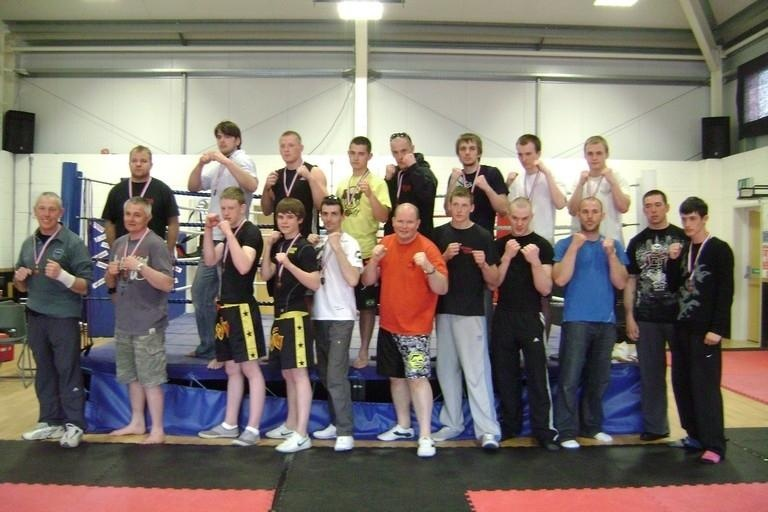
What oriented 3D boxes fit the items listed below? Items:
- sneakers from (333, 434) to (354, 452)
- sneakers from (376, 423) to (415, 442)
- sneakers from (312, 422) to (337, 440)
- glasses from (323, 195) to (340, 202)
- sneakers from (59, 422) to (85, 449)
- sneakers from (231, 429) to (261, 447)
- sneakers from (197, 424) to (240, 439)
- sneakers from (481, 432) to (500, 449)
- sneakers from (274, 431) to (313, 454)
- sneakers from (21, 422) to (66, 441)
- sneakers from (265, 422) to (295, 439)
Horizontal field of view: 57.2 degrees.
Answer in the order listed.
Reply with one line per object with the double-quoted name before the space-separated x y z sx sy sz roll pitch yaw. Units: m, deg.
"sneakers" -0.458 2.107 7.982 0.213 0.167 0.151 0 1 -5
"sneakers" 0.130 2.074 8.249 0.467 0.179 0.166 -1 -9 -1
"sneakers" -0.673 2.053 8.223 0.359 0.142 0.127 1 -1 -3
"glasses" -0.603 -0.645 8.055 0.204 0.122 0.240 0 2 -4
"sneakers" -3.558 2.032 8.016 0.237 0.231 0.188 0 1 -6
"sneakers" -1.568 2.082 8.023 0.288 0.116 0.151 3 -8 -21
"sneakers" -1.906 2.029 8.163 0.463 0.173 0.178 2 -8 -6
"sneakers" 1.201 2.094 8.006 0.210 0.188 0.141 0 1 0
"sneakers" -1.011 2.097 7.890 0.432 0.181 0.172 1 -4 -12
"sneakers" -3.887 2.027 8.186 0.530 0.222 0.185 3 -3 -11
"sneakers" -1.205 2.046 8.209 0.382 0.153 0.150 -1 -5 2
